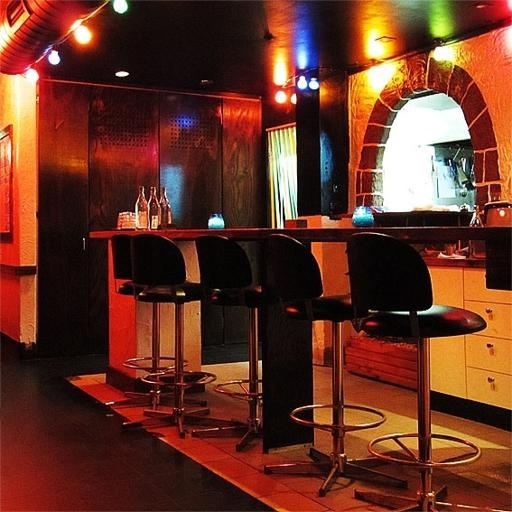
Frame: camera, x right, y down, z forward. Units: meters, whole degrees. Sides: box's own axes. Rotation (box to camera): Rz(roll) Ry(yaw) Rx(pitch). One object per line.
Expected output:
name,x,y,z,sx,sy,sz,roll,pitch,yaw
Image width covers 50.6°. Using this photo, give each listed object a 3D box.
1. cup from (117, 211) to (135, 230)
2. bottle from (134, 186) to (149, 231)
cup,-1.144,-0.308,4.761,0.124,0.152,0.314,0,-3,-26
bottle,-0.951,-0.408,4.502,0.103,0.381,0.328,-1,-3,-12
